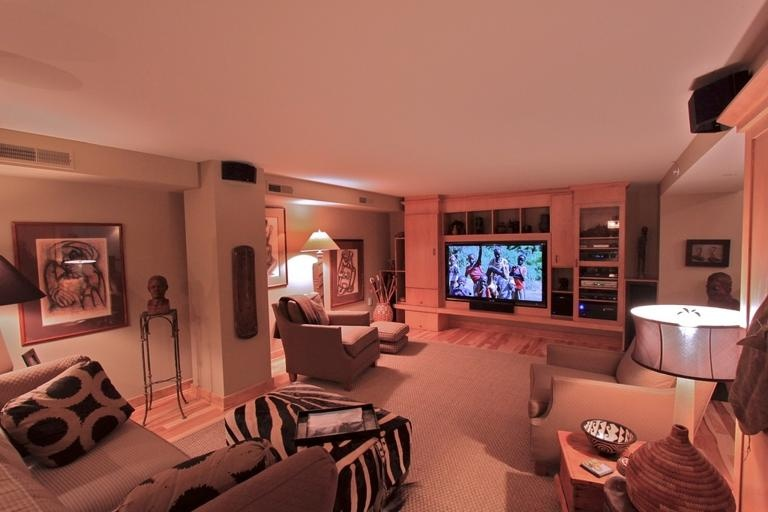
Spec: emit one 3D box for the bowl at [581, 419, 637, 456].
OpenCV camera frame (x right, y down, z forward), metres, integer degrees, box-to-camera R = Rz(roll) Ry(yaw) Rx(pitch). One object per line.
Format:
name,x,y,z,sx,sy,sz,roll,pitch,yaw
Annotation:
bowl,1.598,1.316,3.496,0.358,0.137,0.341,3,8,0

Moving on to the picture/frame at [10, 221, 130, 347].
picture/frame,-3.011,0.247,4.533,0.061,1.560,1.215,6,8,39

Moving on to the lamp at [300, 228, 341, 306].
lamp,-0.928,0.163,6.876,0.517,1.136,0.808,0,1,-6

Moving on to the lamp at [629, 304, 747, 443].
lamp,2.048,0.803,3.255,0.627,0.931,0.486,1,1,35

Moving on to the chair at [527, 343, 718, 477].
chair,2.013,1.117,4.129,1.375,1.122,1.272,0,-1,25

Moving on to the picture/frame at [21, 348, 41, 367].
picture/frame,-3.144,0.892,4.261,0.012,0.165,0.147,-14,8,36

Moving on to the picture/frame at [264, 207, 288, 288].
picture/frame,-1.417,-0.134,6.361,0.045,1.074,0.413,1,1,26

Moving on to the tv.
tv,1.762,0.246,7.206,1.120,0.667,0.048,1,1,27

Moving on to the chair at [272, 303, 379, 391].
chair,-0.635,0.997,5.768,1.057,0.851,0.963,-1,0,17

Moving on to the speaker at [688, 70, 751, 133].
speaker,2.232,-1.061,3.218,0.543,0.355,0.288,-6,7,-26

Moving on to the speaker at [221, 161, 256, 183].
speaker,-1.503,-0.880,5.006,0.201,0.246,0.364,2,5,33

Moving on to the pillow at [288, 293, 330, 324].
pillow,-0.895,0.623,5.740,0.124,0.375,0.408,-22,-5,12

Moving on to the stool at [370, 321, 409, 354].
stool,0.084,1.070,6.639,0.451,0.292,0.446,1,4,29
